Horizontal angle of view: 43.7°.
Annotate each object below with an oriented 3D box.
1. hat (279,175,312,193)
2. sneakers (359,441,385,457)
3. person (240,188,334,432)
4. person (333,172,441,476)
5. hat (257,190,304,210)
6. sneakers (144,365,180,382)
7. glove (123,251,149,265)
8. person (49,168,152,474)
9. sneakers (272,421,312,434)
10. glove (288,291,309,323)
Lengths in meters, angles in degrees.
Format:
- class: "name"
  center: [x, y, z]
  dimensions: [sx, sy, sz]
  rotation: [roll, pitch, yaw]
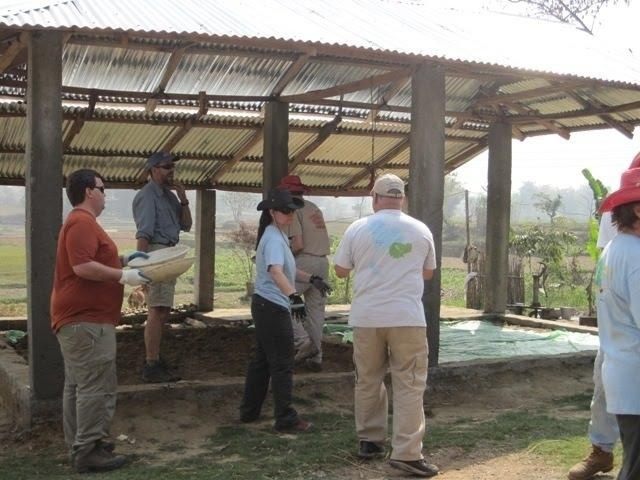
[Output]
- class: "hat"
  center: [-0.273, -0.672, 9.401]
  dimensions: [0.287, 0.130, 0.284]
  rotation: [12, 13, 35]
- class: "sneakers"
  center: [0.514, 2.060, 7.892]
  dimensions: [0.117, 0.130, 0.290]
  rotation: [2, 2, 35]
- class: "person"
  center: [-0.435, 0.738, 8.370]
  dimensions: [0.777, 2.492, 0.718]
  rotation: [1, 12, -6]
- class: "person"
  center: [0.722, 0.797, 7.733]
  dimensions: [0.712, 2.771, 1.121]
  rotation: [-7, 15, -37]
- class: "hat"
  center: [-0.448, -0.404, 8.349]
  dimensions: [0.322, 0.122, 0.272]
  rotation: [-5, 0, 37]
- class: "sneakers"
  center: [-1.902, 1.572, 9.429]
  dimensions: [0.494, 0.207, 0.180]
  rotation: [0, 2, -2]
- class: "glove"
  center: [-1.848, 0.160, 8.015]
  dimensions: [0.163, 0.042, 0.157]
  rotation: [4, 12, 7]
- class: "person"
  center: [-2.185, 0.766, 7.676]
  dimensions: [0.764, 2.815, 0.866]
  rotation: [-2, 12, -19]
- class: "sneakers"
  center: [-0.276, 1.941, 8.303]
  dimensions: [0.375, 0.167, 0.144]
  rotation: [-3, 4, -6]
- class: "glove"
  center: [-0.232, 0.674, 8.163]
  dimensions: [0.187, 0.267, 0.081]
  rotation: [-22, 15, -27]
